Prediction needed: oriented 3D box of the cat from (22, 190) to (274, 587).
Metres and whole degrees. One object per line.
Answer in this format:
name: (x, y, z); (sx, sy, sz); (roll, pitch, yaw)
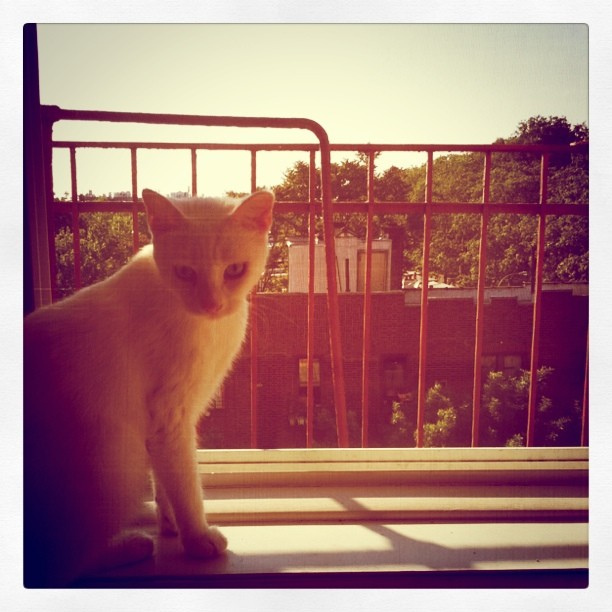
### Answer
cat: (-0.509, 0.144, 2.129); (0.740, 1.173, 0.522); (9, 11, 3)
